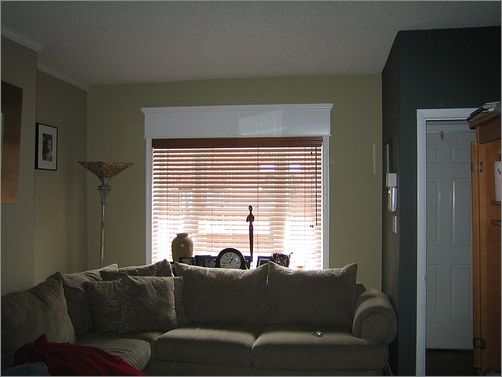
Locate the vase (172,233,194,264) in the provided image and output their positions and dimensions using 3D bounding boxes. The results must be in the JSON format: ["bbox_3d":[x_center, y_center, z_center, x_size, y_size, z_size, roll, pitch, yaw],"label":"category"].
[{"bbox_3d":[-0.850,0.747,5.271,0.282,0.414,0.305,1,-1,-15],"label":"vase"}]

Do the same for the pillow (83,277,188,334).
[{"bbox_3d":[-1.174,1.137,4.145,0.611,0.647,0.192,0,-12,-22],"label":"pillow"}]

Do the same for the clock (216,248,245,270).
[{"bbox_3d":[-0.246,0.853,5.099,0.209,0.272,0.043,0,-3,3],"label":"clock"}]

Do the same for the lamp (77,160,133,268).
[{"bbox_3d":[-1.846,0.303,5.384,0.624,1.399,0.761,2,-5,-23],"label":"lamp"}]

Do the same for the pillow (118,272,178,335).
[{"bbox_3d":[-1.023,1.158,4.188,0.479,0.535,0.183,0,-12,-17],"label":"pillow"}]

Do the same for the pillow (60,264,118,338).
[{"bbox_3d":[-1.570,1.085,4.032,0.138,0.518,0.491,-12,-4,33],"label":"pillow"}]
